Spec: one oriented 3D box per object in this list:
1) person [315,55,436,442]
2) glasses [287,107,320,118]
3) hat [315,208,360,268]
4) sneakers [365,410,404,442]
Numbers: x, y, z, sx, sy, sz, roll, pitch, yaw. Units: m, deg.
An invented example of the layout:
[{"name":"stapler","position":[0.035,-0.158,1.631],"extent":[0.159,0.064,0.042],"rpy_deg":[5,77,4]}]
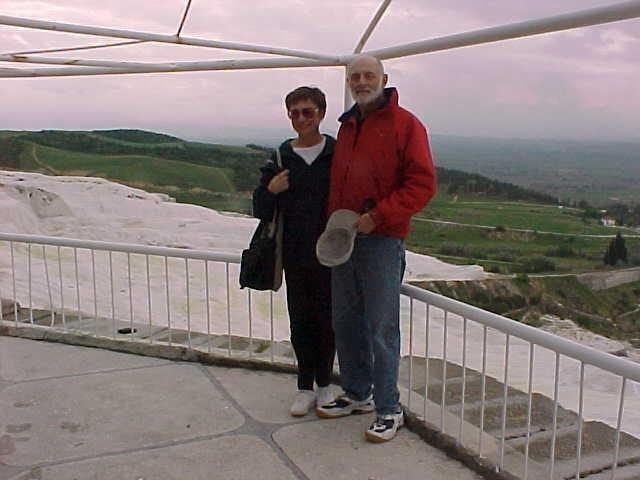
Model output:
[{"name":"person","position":[0.514,0.177,5.756],"extent":[1.032,3.405,0.498],"rpy_deg":[7,11,19]},{"name":"glasses","position":[-0.153,-1.210,5.922],"extent":[0.290,0.105,0.069],"rpy_deg":[2,10,-3]},{"name":"hat","position":[0.200,-0.011,5.814],"extent":[0.351,0.556,0.134],"rpy_deg":[26,9,21]},{"name":"sneakers","position":[0.625,1.779,5.889],"extent":[0.173,0.167,0.441],"rpy_deg":[2,0,39]}]
